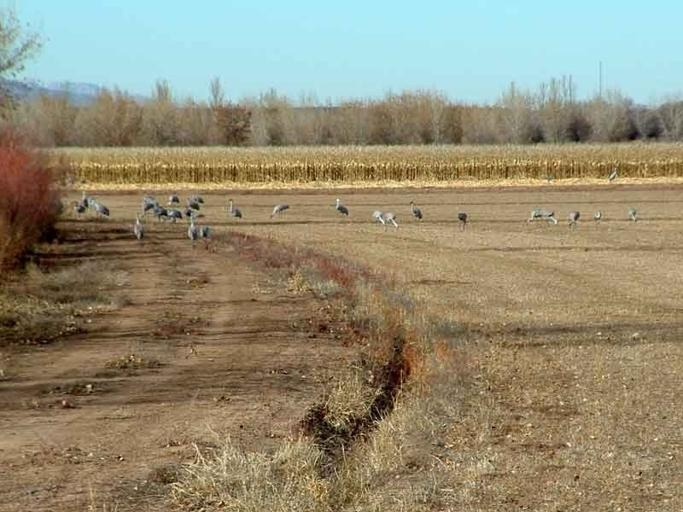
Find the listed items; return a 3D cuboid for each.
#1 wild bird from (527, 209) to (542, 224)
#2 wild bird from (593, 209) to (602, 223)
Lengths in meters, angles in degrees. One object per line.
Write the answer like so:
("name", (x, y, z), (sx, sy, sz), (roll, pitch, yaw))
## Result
("wild bird", (8.283, -1.749, 42.691), (0.324, 0.745, 1.334), (6, 13, 31))
("wild bird", (11.205, -1.728, 43.411), (0.351, 0.510, 0.700), (-1, -1, -4))
